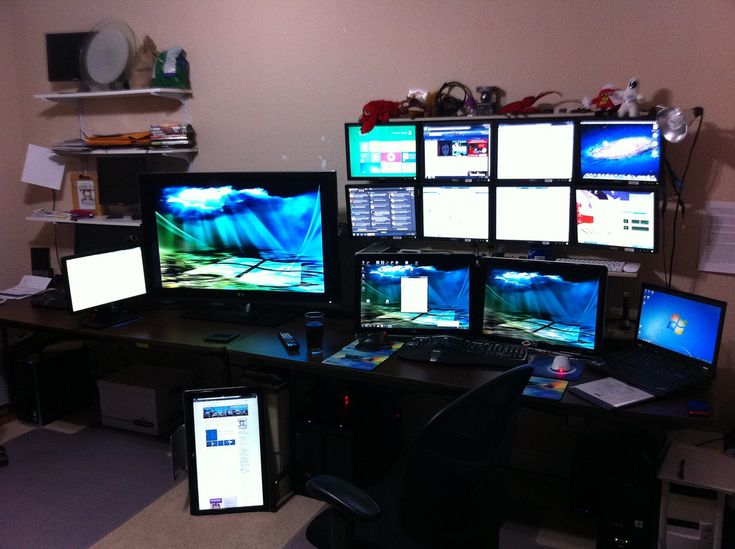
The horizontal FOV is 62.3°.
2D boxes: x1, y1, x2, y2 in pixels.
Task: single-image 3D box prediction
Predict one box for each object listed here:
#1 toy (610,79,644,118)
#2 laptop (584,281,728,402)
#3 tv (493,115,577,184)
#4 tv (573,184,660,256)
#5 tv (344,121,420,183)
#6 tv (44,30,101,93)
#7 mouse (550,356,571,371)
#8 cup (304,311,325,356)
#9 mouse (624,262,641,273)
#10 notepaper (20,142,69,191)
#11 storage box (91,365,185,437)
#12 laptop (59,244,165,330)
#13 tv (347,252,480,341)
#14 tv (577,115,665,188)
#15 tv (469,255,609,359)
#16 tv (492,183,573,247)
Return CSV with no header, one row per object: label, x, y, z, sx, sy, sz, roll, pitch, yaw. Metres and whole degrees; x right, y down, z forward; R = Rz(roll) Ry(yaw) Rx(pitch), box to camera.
toy,1.306,-0.868,3.028,0.134,0.224,0.079,22,45,28
laptop,1.413,0.302,2.883,0.351,0.526,0.673,-4,12,-34
tv,0.869,-0.637,3.160,0.438,0.317,0.037,-2,8,-6
tv,1.254,-0.274,3.069,0.402,0.307,0.028,5,12,28
tv,0.081,-0.689,3.415,0.411,0.299,0.032,2,11,15
tv,-2.148,-1.546,4.310,0.420,0.453,0.110,-1,10,13
mouse,0.937,0.429,2.931,0.090,0.053,0.103,3,12,17
cup,-0.277,0.303,3.195,0.088,0.197,0.226,-2,11,-6
mouse,1.349,-0.029,3.089,0.061,0.017,0.071,1,23,18
notepaper,-2.399,-0.780,4.495,0.337,0.313,0.081,20,-1,-26
storage box,-1.393,0.772,4.055,0.557,0.375,0.577,2,8,18
laptop,-1.590,0.066,3.715,0.205,0.435,0.535,5,12,30
tv,0.270,0.122,3.186,0.608,0.468,0.158,3,10,7
tv,1.254,-0.604,3.021,0.390,0.305,0.089,3,11,17
tv,0.894,0.162,3.094,0.667,0.476,0.201,10,12,37
tv,0.871,-0.312,3.218,0.382,0.294,0.028,3,11,17
